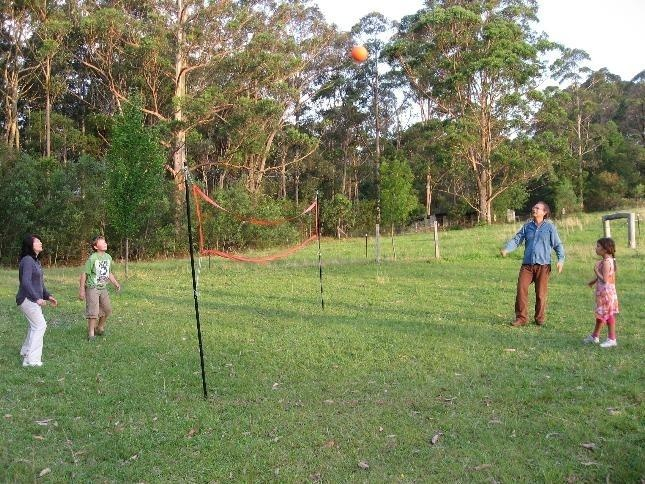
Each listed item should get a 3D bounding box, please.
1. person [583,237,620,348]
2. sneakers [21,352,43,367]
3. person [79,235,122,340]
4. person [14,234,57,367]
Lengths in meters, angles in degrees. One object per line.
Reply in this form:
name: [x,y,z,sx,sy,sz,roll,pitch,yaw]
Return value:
person: [6.648,1.180,15.121,0.586,2.551,0.851,0,-1,26]
sneakers: [-6.423,2.637,14.108,0.458,0.248,0.264,1,-1,-15]
person: [-5.488,1.126,15.666,0.778,2.492,1.259,0,-1,-8]
person: [-6.432,1.301,14.284,0.787,2.916,0.474,0,-1,9]
